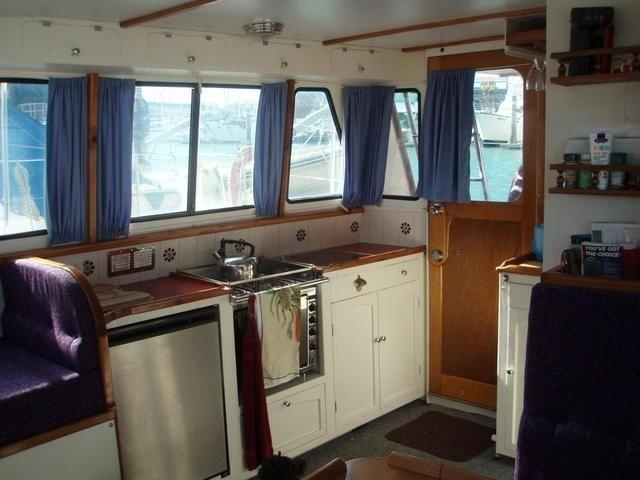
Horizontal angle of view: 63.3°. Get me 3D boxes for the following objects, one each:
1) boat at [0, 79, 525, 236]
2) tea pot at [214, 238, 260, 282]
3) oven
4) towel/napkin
[{"bbox_3d":[-0.343,-0.738,4.115,3.698,1.017,1.112,-5,10,-12],"label":"boat"},{"bbox_3d":[-0.610,0.144,3.825,0.317,0.313,0.260,-3,19,-11],"label":"tea pot"},{"bbox_3d":[-0.299,0.701,3.837,0.574,0.730,0.493,4,-31,-14],"label":"oven"},{"bbox_3d":[-0.268,0.661,3.568,0.365,0.660,0.033,-10,11,-41],"label":"towel/napkin"}]
